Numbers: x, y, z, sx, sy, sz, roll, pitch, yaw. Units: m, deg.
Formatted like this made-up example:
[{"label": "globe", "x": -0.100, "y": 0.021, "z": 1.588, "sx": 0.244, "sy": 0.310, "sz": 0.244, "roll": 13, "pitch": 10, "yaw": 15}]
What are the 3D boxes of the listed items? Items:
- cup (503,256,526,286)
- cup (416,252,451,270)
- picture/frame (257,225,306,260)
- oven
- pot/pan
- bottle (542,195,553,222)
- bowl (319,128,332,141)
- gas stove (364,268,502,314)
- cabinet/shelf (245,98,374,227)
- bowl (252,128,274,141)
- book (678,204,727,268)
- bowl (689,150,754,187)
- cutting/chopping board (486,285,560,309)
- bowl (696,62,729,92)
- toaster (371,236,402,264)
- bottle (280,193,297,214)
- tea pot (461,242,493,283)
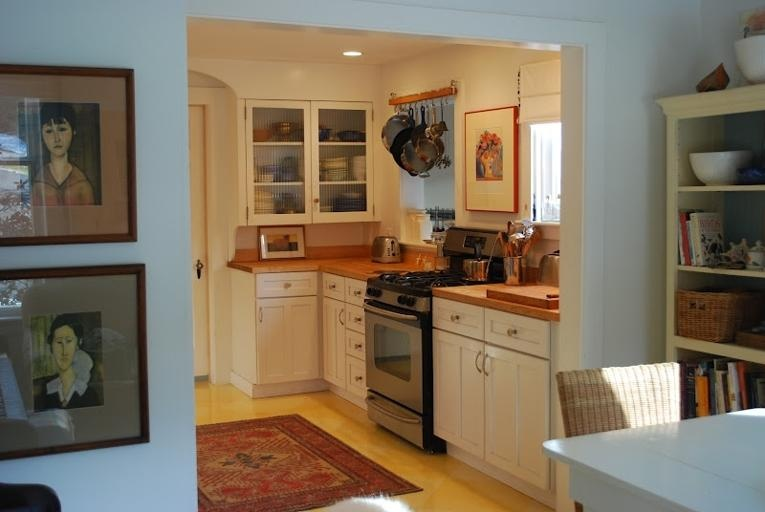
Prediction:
[{"label": "cup", "x": 0.932, "y": 0.107, "z": 4.156, "sx": 0.191, "sy": 0.195, "sz": 0.159, "roll": -1, "pitch": 3, "yaw": -4}, {"label": "cup", "x": 0.440, "y": 0.047, "z": 5.104, "sx": 0.160, "sy": 0.104, "sz": 0.154, "roll": 0, "pitch": 3, "yaw": 0}, {"label": "picture/frame", "x": -1.033, "y": -0.124, "z": 5.896, "sx": 0.345, "sy": 0.246, "sz": 0.026, "roll": -2, "pitch": -6, "yaw": -20}, {"label": "oven", "x": 0.327, "y": 0.815, "z": 4.649, "sx": 0.764, "sy": 1.119, "sz": 0.843, "roll": -2, "pitch": 5, "yaw": -30}, {"label": "pot/pan", "x": 0.295, "y": -0.999, "z": 5.188, "sx": 0.300, "sy": 0.607, "sz": 0.845, "roll": -5, "pitch": 8, "yaw": -26}, {"label": "bottle", "x": 1.201, "y": -0.349, "z": 4.282, "sx": 0.056, "sy": 0.177, "sz": 0.036, "roll": 1, "pitch": 8, "yaw": 20}, {"label": "bowl", "x": -0.565, "y": -1.174, "z": 5.752, "sx": 0.120, "sy": 0.114, "sz": 0.121, "roll": 0, "pitch": 6, "yaw": 0}, {"label": "gas stove", "x": 0.287, "y": 0.264, "z": 4.574, "sx": 0.638, "sy": 0.224, "sz": 0.670, "roll": -5, "pitch": 9, "yaw": -36}, {"label": "cabinet/shelf", "x": -0.759, "y": -0.924, "z": 5.701, "sx": 1.270, "sy": 1.170, "sz": 0.418, "roll": -1, "pitch": 1, "yaw": -20}, {"label": "bowl", "x": -1.132, "y": -1.143, "z": 5.586, "sx": 0.211, "sy": 0.127, "sz": 0.033, "roll": -5, "pitch": 8, "yaw": -24}, {"label": "book", "x": 1.794, "y": -0.098, "z": 3.328, "sx": 0.362, "sy": 0.347, "sz": 0.129, "roll": 0, "pitch": 1, "yaw": -36}, {"label": "bowl", "x": 1.933, "y": -0.492, "z": 3.359, "sx": 0.348, "sy": 0.193, "sz": 0.337, "roll": -6, "pitch": 6, "yaw": 1}, {"label": "cutting/chopping board", "x": 0.890, "y": 0.244, "z": 3.768, "sx": 0.447, "sy": 0.070, "sz": 0.602, "roll": 1, "pitch": 8, "yaw": 14}, {"label": "bowl", "x": 1.790, "y": -0.955, "z": 3.188, "sx": 0.171, "sy": 0.162, "sz": 0.126, "roll": -3, "pitch": 7, "yaw": -10}, {"label": "toaster", "x": 0.028, "y": -0.052, "z": 5.565, "sx": 0.202, "sy": 0.202, "sz": 0.284, "roll": 0, "pitch": 2, "yaw": -31}, {"label": "bottle", "x": -0.915, "y": -0.499, "z": 5.659, "sx": 0.198, "sy": 0.233, "sz": 0.025, "roll": 1, "pitch": 5, "yaw": -11}, {"label": "tea pot", "x": 0.722, "y": 0.077, "z": 4.449, "sx": 0.171, "sy": 0.295, "sz": 0.294, "roll": 0, "pitch": 1, "yaw": 14}]
